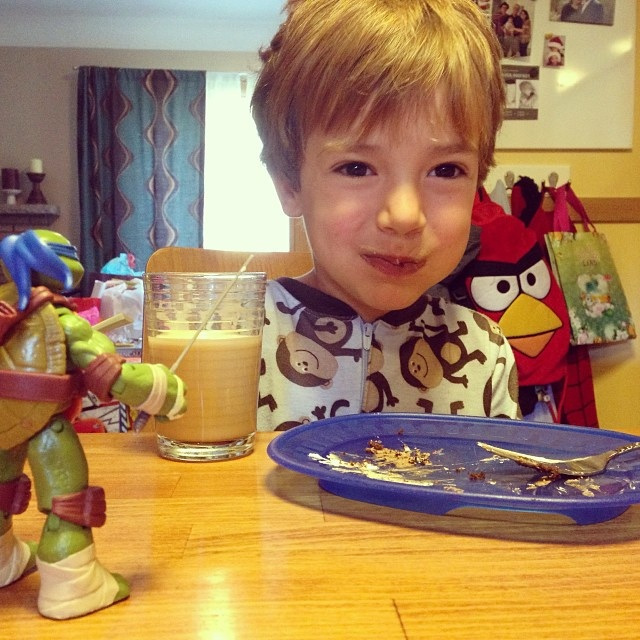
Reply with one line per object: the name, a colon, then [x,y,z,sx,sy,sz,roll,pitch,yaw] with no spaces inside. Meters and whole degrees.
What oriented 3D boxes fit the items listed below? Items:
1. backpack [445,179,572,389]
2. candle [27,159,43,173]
backpack: [0.535,-0.076,1.823,0.441,0.461,0.196,-16,8,-19]
candle: [-2.097,-1.134,4.982,0.099,0.130,0.256,-5,10,-21]
